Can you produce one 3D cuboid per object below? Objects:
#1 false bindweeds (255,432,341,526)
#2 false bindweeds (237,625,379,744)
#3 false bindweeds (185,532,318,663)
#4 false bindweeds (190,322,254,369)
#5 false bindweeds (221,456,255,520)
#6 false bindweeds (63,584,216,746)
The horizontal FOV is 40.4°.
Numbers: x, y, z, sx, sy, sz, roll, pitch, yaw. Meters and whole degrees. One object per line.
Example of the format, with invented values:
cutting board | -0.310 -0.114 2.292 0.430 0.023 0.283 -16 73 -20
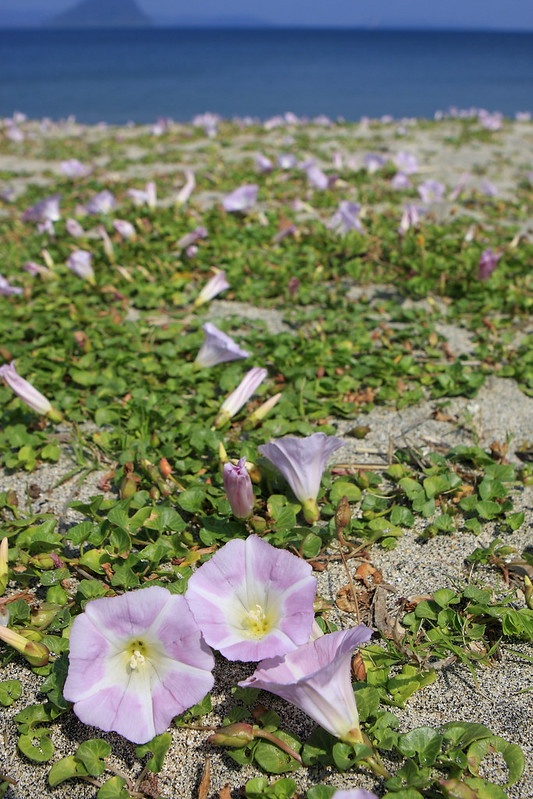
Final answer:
false bindweeds | 0.113 0.263 2.480 0.214 0.432 0.200 -13 29 -23
false bindweeds | 0.155 0.714 1.891 0.310 0.218 0.365 -10 -8 39
false bindweeds | -0.035 0.581 2.032 0.332 0.155 0.332 -13 49 -18
false bindweeds | -0.206 -0.237 3.229 0.203 0.289 0.299 -6 26 -12
false bindweeds | -0.098 0.303 2.434 0.097 0.262 0.088 -24 52 -12
false bindweeds | -0.358 0.686 1.937 0.394 0.158 0.412 12 20 0
